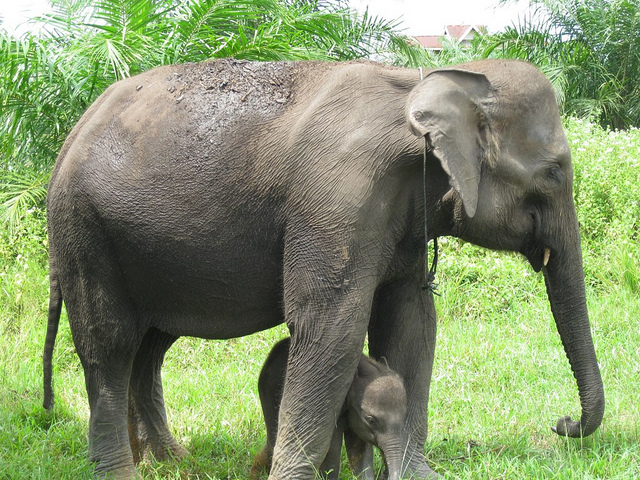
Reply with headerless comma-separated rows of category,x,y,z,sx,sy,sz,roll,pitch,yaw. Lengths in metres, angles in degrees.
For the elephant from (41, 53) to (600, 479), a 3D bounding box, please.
elephant,-0.080,0.152,3.345,2.616,2.139,0.879,0,9,17
